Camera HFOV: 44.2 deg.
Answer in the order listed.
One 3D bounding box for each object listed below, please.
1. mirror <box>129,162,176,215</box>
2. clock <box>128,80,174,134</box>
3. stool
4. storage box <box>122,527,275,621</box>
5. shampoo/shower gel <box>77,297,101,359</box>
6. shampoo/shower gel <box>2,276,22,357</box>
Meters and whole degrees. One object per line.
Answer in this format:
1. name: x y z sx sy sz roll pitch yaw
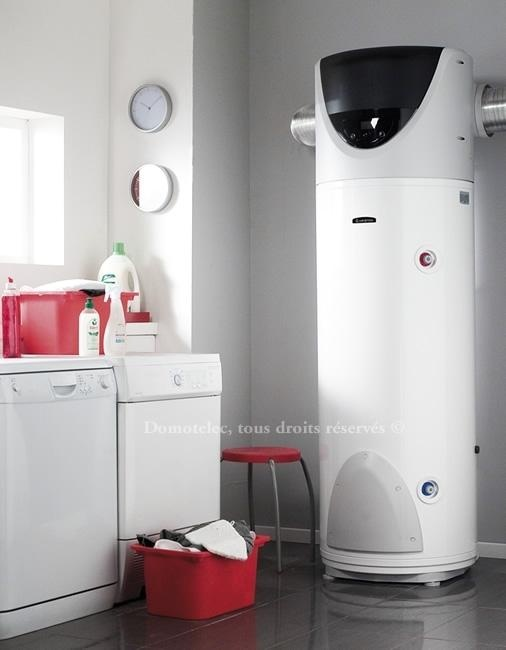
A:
1. mirror: -0.486 -0.632 2.893 0.197 0.214 0.031 -1 -2 13
2. clock: -0.477 -1.017 2.926 0.218 0.221 0.052 15 11 36
3. stool: 0.146 0.738 2.675 0.329 0.328 0.334 -12 -16 27
4. storage box: -0.157 0.776 1.935 0.256 0.195 0.404 -2 -3 31
5. shampoo/shower gel: -0.582 0.005 2.214 0.068 0.202 0.067 -4 4 -29
6. shampoo/shower gel: -0.892 -0.020 2.294 0.065 0.271 0.087 -3 4 -22
